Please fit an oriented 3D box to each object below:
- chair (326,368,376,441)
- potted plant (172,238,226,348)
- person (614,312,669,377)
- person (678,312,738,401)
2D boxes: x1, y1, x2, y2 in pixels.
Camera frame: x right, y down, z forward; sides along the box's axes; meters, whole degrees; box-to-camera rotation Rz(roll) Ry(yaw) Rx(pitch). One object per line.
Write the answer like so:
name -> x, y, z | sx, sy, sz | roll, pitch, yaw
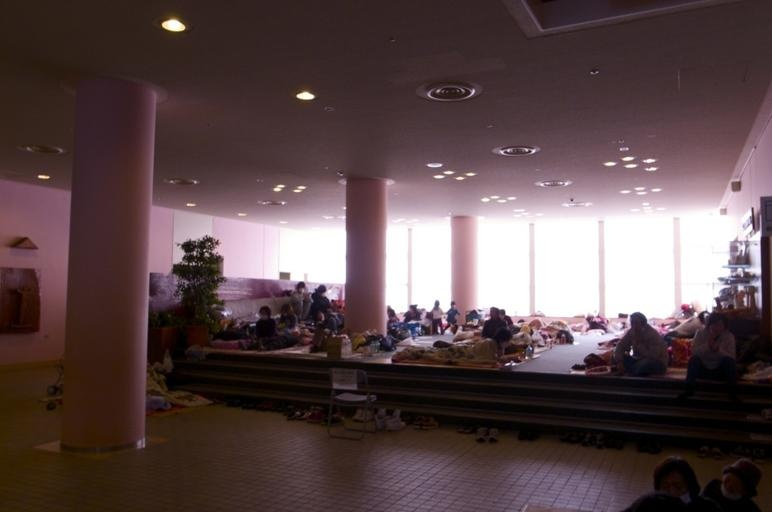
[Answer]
chair -> -0.550, 2.457, 8.924 | 0.936, 1.095, 0.852 | 4, -8, -18
potted plant -> -4.571, 0.838, 12.924 | 1.149, 2.625, 1.131 | -3, 3, -20
person -> 4.569, 1.570, 9.400 | 0.880, 1.065, 0.653 | -1, 3, 6
person -> 5.334, 1.610, 8.611 | 0.742, 1.288, 0.857 | 0, 3, 29
